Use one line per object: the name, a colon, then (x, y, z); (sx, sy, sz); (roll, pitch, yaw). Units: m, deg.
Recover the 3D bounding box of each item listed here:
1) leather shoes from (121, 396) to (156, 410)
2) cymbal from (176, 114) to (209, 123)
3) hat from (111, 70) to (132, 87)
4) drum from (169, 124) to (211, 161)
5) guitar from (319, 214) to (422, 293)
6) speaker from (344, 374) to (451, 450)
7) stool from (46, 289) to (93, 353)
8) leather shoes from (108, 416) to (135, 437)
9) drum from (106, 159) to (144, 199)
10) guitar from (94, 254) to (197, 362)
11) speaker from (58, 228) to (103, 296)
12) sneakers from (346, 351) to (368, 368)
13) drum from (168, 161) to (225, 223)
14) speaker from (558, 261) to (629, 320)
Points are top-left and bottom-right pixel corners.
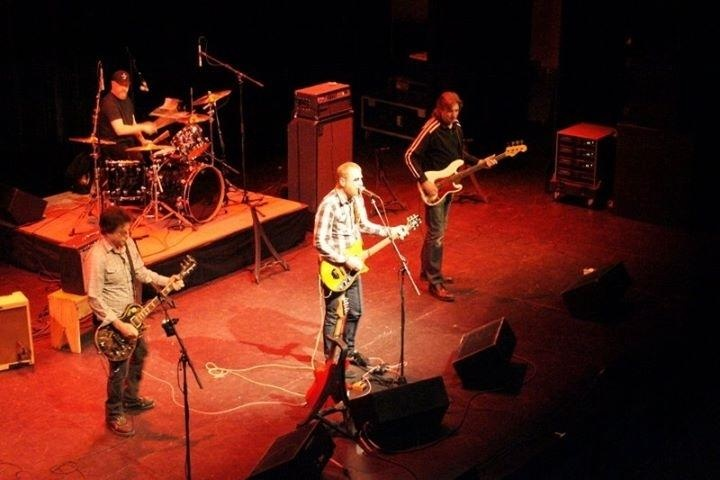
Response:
leather shoes: (-2.228, 1.671, 5.659); (0.256, 0.095, 0.122); (-7, 24, -23)
cymbal: (-2.471, -1.784, 8.285); (0.459, 0.157, 0.331); (-15, 22, -43)
hat: (-3.582, -2.430, 8.424); (0.213, 0.217, 0.281); (-5, 17, -14)
drum: (-2.562, -1.415, 8.376); (0.603, 0.506, 0.488); (-18, 63, -32)
guitar: (0.132, 0.204, 6.652); (1.160, 0.399, 0.159); (-34, 12, -22)
speaker: (0.369, 1.565, 5.311); (0.936, 0.614, 0.646); (-12, 1, -38)
stool: (-3.378, 0.959, 6.548); (0.480, 0.656, 0.722); (-4, 13, -10)
leather shoes: (-2.289, 1.781, 5.435); (0.287, 0.121, 0.150); (10, 14, 31)
drum: (-3.453, -0.887, 8.293); (0.604, 0.571, 0.586); (-3, 12, -23)
guitar: (-2.040, 0.692, 5.310); (0.783, 0.897, 0.426); (-2, 17, -7)
speaker: (-3.147, 0.276, 6.309); (0.396, 0.663, 0.703); (5, 13, 2)
sneakers: (-0.024, 1.324, 6.237); (0.224, 0.135, 0.098); (25, 53, 9)
drum: (-2.425, -0.696, 8.226); (0.495, 0.659, 0.661); (11, 41, 37)
speaker: (2.967, 0.820, 7.205); (0.714, 0.618, 0.929); (5, 23, 42)
